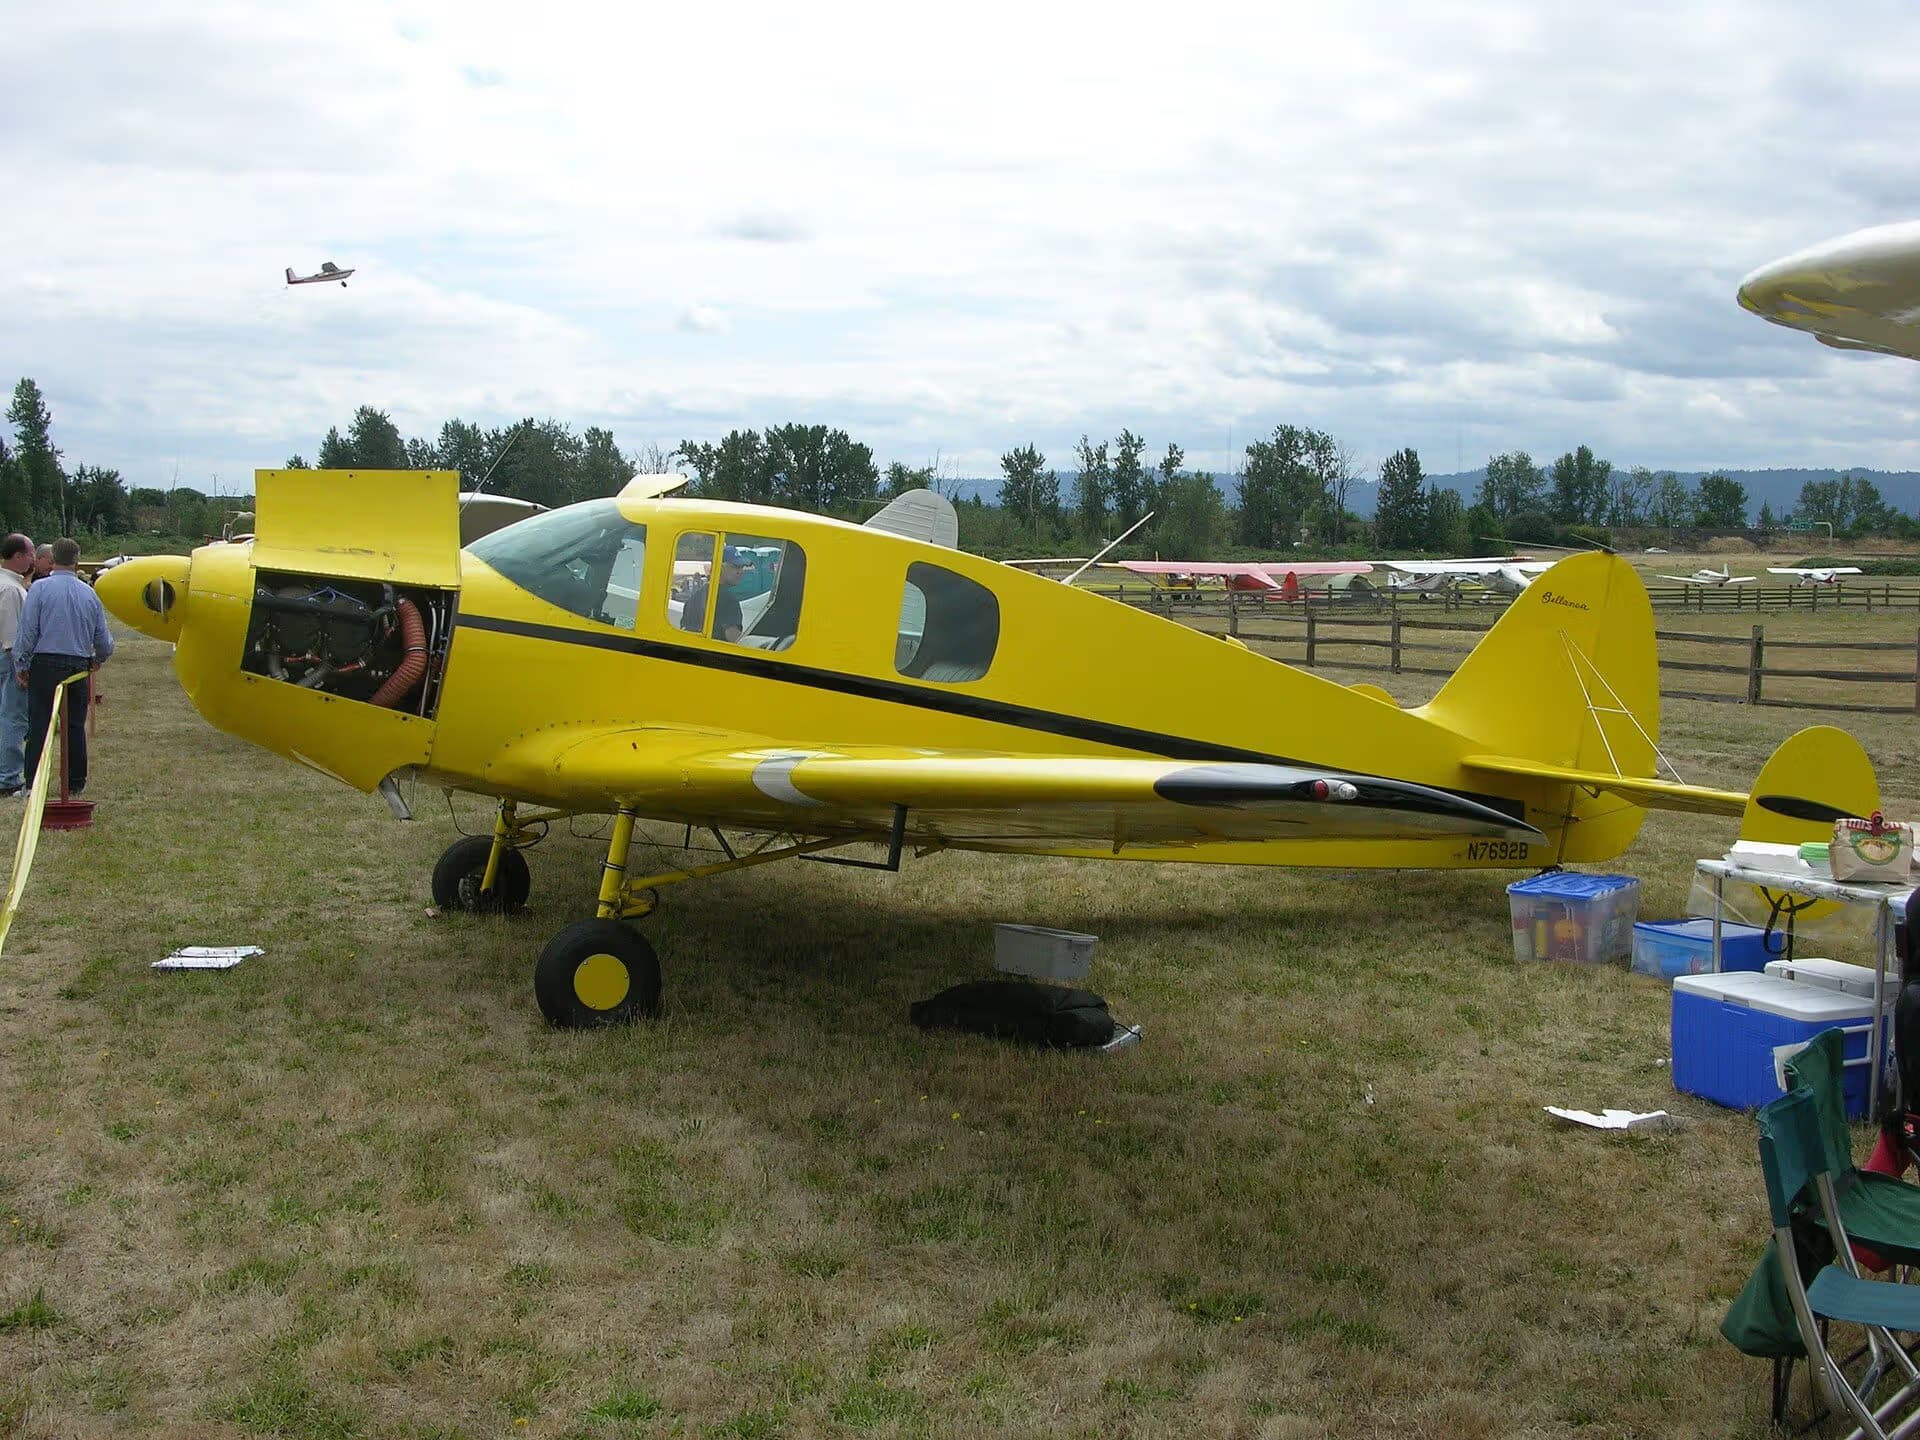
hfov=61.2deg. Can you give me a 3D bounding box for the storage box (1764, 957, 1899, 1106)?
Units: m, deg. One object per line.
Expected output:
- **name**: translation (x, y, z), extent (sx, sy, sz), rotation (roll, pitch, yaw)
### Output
- **storage box**: translation (3.452, 1.250, 6.406), extent (0.490, 0.488, 0.775), rotation (2, -5, -2)

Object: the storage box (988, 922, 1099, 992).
- **storage box**: translation (0.419, 1.205, 8.297), extent (0.480, 0.252, 0.306), rotation (6, 0, 36)

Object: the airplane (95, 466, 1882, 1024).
- **airplane**: translation (-0.278, -0.142, 8.121), extent (5.044, 1.486, 5.329), rotation (4, -2, -21)
